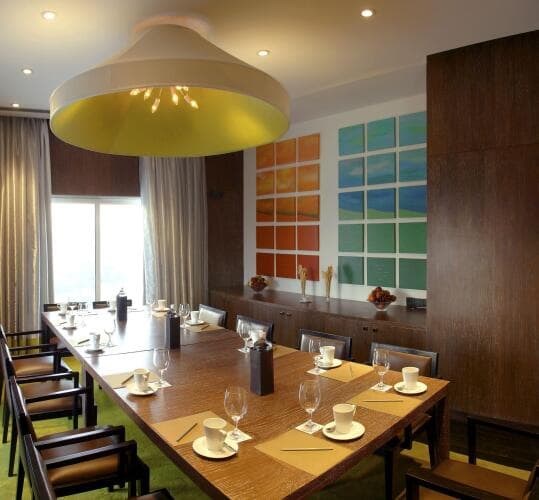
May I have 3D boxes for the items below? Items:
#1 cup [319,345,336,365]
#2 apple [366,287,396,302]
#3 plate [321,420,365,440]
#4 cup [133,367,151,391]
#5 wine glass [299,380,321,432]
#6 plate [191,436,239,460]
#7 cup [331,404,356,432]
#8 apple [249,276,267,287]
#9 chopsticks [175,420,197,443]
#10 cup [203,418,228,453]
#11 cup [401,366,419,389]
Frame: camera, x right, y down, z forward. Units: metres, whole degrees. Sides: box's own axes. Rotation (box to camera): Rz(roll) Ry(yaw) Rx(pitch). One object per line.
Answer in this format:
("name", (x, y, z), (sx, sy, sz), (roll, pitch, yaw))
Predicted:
("cup", (0.379, 0.675, 2.844), (0.100, 0.089, 0.111), (1, -5, -21))
("apple", (1.222, 0.482, 4.754), (0.193, 0.110, 0.205), (0, 1, 25))
("plate", (0.319, 0.763, 1.853), (0.194, 0.020, 0.165), (0, 3, -6))
("cup", (-0.683, 0.681, 2.333), (0.072, 0.100, 0.109), (-1, 9, -19))
("wine glass", (0.177, 0.655, 1.950), (0.086, 0.235, 0.289), (0, 3, 5))
("plate", (-0.211, 0.768, 1.703), (0.177, 0.024, 0.149), (0, 3, -2))
("cup", (0.311, 0.701, 1.834), (0.075, 0.086, 0.118), (-2, -2, 8))
("apple", (-0.186, 0.423, 6.048), (0.174, 0.088, 0.167), (-2, 9, -29))
("chopsticks", (-0.349, 0.761, 1.848), (0.016, 0.023, 0.155), (6, 10, 17))
("cup", (-0.206, 0.711, 1.692), (0.072, 0.083, 0.113), (1, 10, -10))
("cup", (0.769, 0.698, 2.408), (0.095, 0.107, 0.097), (-5, -2, 0))
